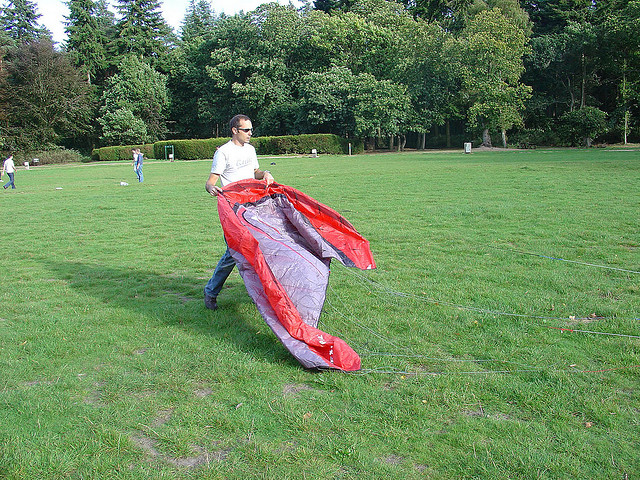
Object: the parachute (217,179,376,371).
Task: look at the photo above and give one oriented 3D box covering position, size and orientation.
[{"bbox_3d":[-0.290,0.313,7.397,1.514,2.095,2.280,-5,11,-32],"label":"parachute"}]
